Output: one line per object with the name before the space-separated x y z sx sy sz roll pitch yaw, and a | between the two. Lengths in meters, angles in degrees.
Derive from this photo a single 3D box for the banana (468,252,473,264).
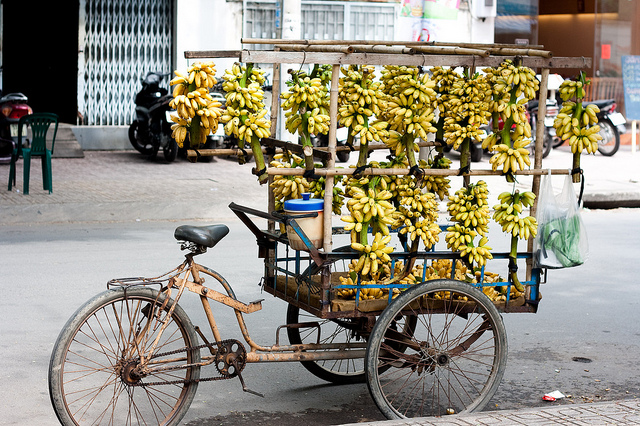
banana | 1.271 0.379 8.202 0.045 0.106 0.083 2 9 2

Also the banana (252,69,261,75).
banana | -0.560 -1.251 8.570 0.049 0.057 0.178 4 4 8

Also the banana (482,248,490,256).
banana | 1.402 0.332 8.169 0.031 0.088 0.027 -33 -9 -41

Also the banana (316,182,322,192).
banana | -0.005 -0.228 8.482 0.056 0.078 0.026 4 -3 1

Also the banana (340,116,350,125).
banana | 0.203 -0.786 8.223 0.068 0.039 0.019 -48 -2 -33

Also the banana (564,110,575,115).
banana | 2.153 -0.876 8.384 0.071 0.039 0.020 6 10 26

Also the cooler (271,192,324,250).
cooler | -0.133 0.094 8.103 0.460 0.395 0.427 0 1 -26

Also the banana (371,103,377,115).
banana | 0.458 -0.894 8.212 0.037 0.068 0.023 -22 9 -33

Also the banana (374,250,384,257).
banana | 0.489 0.336 8.011 0.078 0.052 0.020 2 9 3

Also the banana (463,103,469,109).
banana | 1.248 -0.922 8.321 0.053 0.050 0.017 0 -6 13

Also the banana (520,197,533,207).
banana | 1.762 -0.102 8.263 0.046 0.035 0.164 -16 28 -12

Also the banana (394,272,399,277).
banana | 0.651 0.533 8.309 0.039 0.038 0.038 -1 6 2

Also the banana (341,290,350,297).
banana | 0.218 0.691 8.251 0.049 0.049 0.013 -21 30 54

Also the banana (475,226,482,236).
banana | 1.345 0.155 8.220 0.026 0.079 0.022 -20 -11 -42

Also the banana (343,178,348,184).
banana | 0.226 -0.281 8.463 0.036 0.012 0.046 -7 35 6

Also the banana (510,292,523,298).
banana | 1.689 0.714 8.370 0.098 0.055 0.052 5 10 25

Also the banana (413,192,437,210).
banana | 0.903 -0.092 8.254 0.187 0.133 0.063 17 -18 -35

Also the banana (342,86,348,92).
banana | 0.222 -1.081 8.410 0.076 0.019 0.074 9 -17 -8

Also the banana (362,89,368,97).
banana | 0.383 -1.020 8.175 0.038 0.046 0.027 1 2 3

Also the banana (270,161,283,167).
banana | -0.391 -0.433 8.535 0.072 0.044 0.052 5 31 -13

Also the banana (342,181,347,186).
banana | 0.217 -0.258 8.464 0.038 0.017 0.062 29 -12 -17

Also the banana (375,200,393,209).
banana | 0.544 -0.074 8.108 0.184 0.053 0.052 12 9 -17

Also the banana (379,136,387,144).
banana | 0.535 -0.623 8.242 0.025 0.021 0.090 -3 -27 34

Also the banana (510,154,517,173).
banana | 1.624 -0.423 8.166 0.045 0.140 0.039 -8 -8 14

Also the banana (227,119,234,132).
banana | -0.756 -0.744 8.202 0.034 0.102 0.035 17 -6 -8

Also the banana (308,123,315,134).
banana | -0.075 -0.729 8.371 0.050 0.079 0.100 1 9 -1

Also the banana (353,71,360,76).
banana | 0.310 -1.198 8.295 0.062 0.023 0.060 -1 18 -9

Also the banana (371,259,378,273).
banana | 0.451 0.447 8.033 0.051 0.109 0.065 1 9 -2

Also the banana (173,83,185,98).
banana | -1.195 -1.049 8.185 0.046 0.162 0.058 20 -14 4

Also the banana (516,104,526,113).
banana | 1.735 -0.907 8.326 0.037 0.052 0.163 11 0 34

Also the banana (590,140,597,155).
banana | 2.342 -0.559 8.302 0.033 0.119 0.043 -9 15 25

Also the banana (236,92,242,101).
banana | -0.681 -0.990 8.212 0.049 0.086 0.028 -10 -16 3

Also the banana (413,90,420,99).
banana | 0.811 -1.007 8.167 0.037 0.072 0.025 11 -10 -2

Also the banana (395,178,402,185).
banana | 0.671 -0.272 8.297 0.058 0.052 0.027 6 10 29

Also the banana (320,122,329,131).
banana | 0.044 -0.745 8.342 0.048 0.031 0.094 1 33 -20

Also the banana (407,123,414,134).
banana | 0.762 -0.714 8.169 0.039 0.079 0.029 24 -2 4

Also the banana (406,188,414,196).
banana | 0.763 -0.176 8.192 0.058 0.064 0.023 2 9 6

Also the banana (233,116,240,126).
banana | -0.705 -0.779 8.200 0.052 0.072 0.040 6 10 25

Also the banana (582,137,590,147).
banana | 2.271 -0.611 8.305 0.025 0.082 0.024 -30 -2 -3

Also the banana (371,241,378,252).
banana | 0.452 0.283 8.013 0.028 0.092 0.031 25 4 -3

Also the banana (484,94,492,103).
banana | 1.435 -0.990 8.327 0.031 0.022 0.077 -8 -32 -37

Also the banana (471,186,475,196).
banana | 1.296 -0.182 8.251 0.032 0.058 0.018 6 11 28

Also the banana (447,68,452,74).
banana | 1.129 -1.245 8.466 0.052 0.034 0.085 1 1 3

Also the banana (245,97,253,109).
banana | -0.602 -0.940 8.256 0.028 0.100 0.034 -16 -18 -42

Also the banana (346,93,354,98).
banana | 0.257 -1.009 8.246 0.058 0.015 0.058 9 18 42

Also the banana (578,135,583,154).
banana | 2.227 -0.585 8.281 0.043 0.148 0.051 3 -7 -2

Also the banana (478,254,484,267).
banana | 1.356 0.399 8.156 0.033 0.096 0.026 6 -15 -11
